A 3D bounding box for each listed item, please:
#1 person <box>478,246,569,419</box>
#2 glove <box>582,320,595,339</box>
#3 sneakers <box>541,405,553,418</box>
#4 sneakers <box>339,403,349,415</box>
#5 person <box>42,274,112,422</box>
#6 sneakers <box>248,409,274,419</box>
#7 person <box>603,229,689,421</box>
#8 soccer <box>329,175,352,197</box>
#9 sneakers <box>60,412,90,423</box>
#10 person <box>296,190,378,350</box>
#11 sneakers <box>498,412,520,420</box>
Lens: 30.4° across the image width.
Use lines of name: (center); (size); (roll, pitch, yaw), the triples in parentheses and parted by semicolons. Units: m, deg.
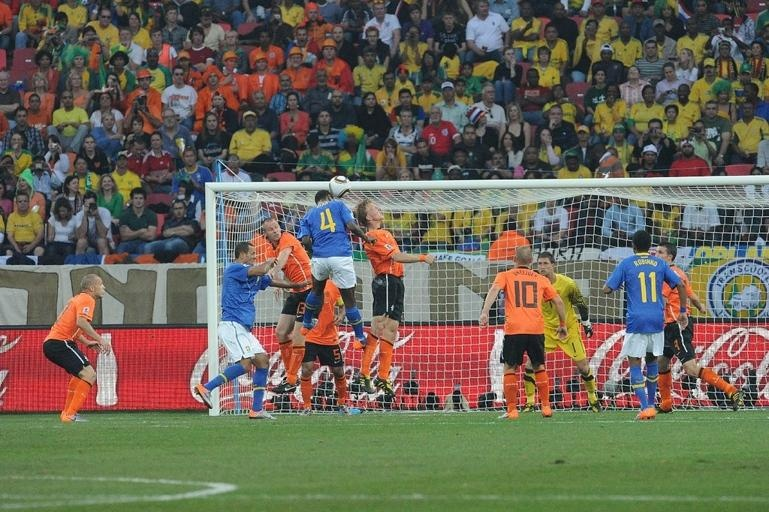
person: (2.511, 1.409, 25.926); (1.585, 3.146, 0.769); (-5, 5, -38)
glove: (3.887, 1.397, 26.909); (0.153, 0.335, 0.192); (-3, -4, -18)
sneakers: (2.973, 2.865, 26.050); (0.203, 0.112, 0.259); (1, 4, 3)
sneakers: (-0.774, 2.966, 27.475); (0.195, 0.183, 0.161); (-3, 5, -25)
person: (-5.881, 1.752, 26.795); (1.125, 2.709, 0.732); (-3, 4, -14)
sneakers: (-2.297, 2.945, 26.282); (0.501, 0.206, 0.185); (2, -2, -4)
person: (4.815, 1.232, 25.901); (0.927, 3.388, 1.238); (2, 6, 42)
soccer: (-0.868, -1.341, 27.122); (0.329, 0.393, 0.408); (-9, 19, -44)
sneakers: (-5.934, 3.078, 26.779); (0.645, 0.287, 0.214); (0, 1, -4)
person: (-0.985, 0.315, 26.618); (1.158, 2.711, 0.475); (-2, 4, 1)
sneakers: (2.254, 2.920, 25.914); (0.152, 0.184, 0.423); (6, -3, -45)
